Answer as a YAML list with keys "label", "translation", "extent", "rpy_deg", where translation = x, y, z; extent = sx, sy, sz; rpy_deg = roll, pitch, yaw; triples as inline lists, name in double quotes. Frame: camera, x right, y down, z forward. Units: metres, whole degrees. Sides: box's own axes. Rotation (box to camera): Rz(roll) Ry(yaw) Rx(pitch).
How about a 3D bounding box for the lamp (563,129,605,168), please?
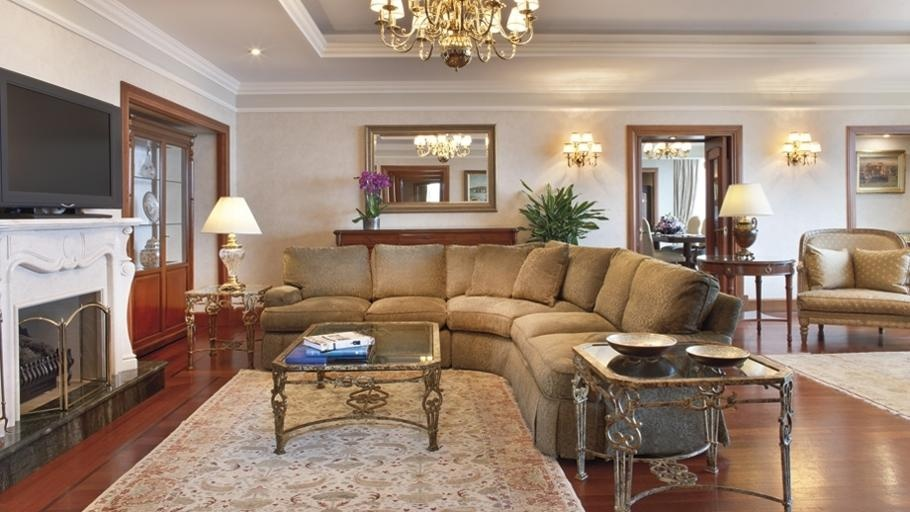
- label: "lamp"
  translation: [1.706, -1.466, 8.541]
  extent: [0.638, 0.473, 0.311]
  rpy_deg: [-1, 1, -9]

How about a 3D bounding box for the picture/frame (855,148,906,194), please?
- label: "picture/frame"
  translation: [6.405, -1.259, 9.590]
  extent: [0.968, 0.750, 0.083]
  rpy_deg: [1, -7, 5]

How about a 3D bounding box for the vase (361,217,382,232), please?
- label: "vase"
  translation: [-1.087, -0.416, 8.374]
  extent: [0.241, 0.142, 0.216]
  rpy_deg: [0, -2, 10]

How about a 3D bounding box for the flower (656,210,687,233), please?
- label: "flower"
  translation: [4.096, -0.617, 12.079]
  extent: [0.641, 0.360, 0.582]
  rpy_deg: [0, 6, 6]

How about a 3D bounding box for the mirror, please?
- label: "mirror"
  translation: [-0.303, -1.208, 8.580]
  extent: [1.629, 0.871, 0.062]
  rpy_deg: [0, 1, -2]

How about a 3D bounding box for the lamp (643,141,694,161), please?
- label: "lamp"
  translation: [4.047, -2.035, 12.275]
  extent: [0.973, 0.377, 0.859]
  rpy_deg: [-1, 9, -10]

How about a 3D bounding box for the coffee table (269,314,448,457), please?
- label: "coffee table"
  translation: [-0.797, 1.063, 5.551]
  extent: [1.274, 0.492, 1.424]
  rpy_deg: [1, 1, -2]

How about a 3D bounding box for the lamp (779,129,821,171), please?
- label: "lamp"
  translation: [4.716, -1.447, 8.623]
  extent: [0.561, 0.449, 0.249]
  rpy_deg: [0, 6, 3]

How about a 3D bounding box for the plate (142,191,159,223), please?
- label: "plate"
  translation: [-3.472, -0.573, 7.325]
  extent: [0.098, 0.260, 0.290]
  rpy_deg: [0, -13, 22]

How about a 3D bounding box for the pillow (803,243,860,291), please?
- label: "pillow"
  translation: [4.404, 0.143, 7.475]
  extent: [0.686, 0.435, 0.218]
  rpy_deg: [0, -23, -4]

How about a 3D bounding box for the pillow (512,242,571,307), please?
- label: "pillow"
  translation: [0.920, 0.169, 6.703]
  extent: [0.212, 0.596, 0.686]
  rpy_deg: [29, -22, -35]

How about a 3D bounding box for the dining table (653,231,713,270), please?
- label: "dining table"
  translation: [4.216, -0.209, 11.481]
  extent: [1.048, 0.544, 0.950]
  rpy_deg: [-3, 3, -22]

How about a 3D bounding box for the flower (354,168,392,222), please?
- label: "flower"
  translation: [-1.105, -0.796, 8.440]
  extent: [0.469, 0.686, 0.447]
  rpy_deg: [-1, 6, -7]

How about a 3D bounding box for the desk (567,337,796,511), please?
- label: "desk"
  translation: [1.682, 1.241, 4.856]
  extent: [1.527, 1.268, 0.700]
  rpy_deg: [0, 6, 1]

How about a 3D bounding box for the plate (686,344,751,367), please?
- label: "plate"
  translation: [1.948, 0.732, 4.744]
  extent: [0.378, 0.111, 0.385]
  rpy_deg: [4, 6, 43]
